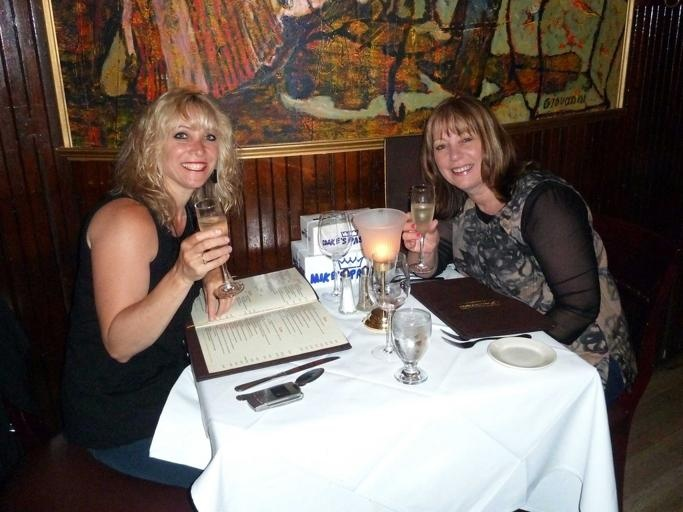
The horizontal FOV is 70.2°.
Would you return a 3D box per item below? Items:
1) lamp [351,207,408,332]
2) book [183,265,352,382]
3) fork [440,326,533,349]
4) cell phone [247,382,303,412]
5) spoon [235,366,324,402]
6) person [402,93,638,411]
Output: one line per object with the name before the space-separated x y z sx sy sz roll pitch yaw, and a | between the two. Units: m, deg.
lamp | 0.145 0.043 1.735 0.176 0.341 0.175 2 -9 -14
book | -0.277 0.230 1.629 0.330 0.032 0.382 -10 35 -16
fork | 0.480 0.266 1.575 0.255 0.041 0.046 -1 41 5
cell phone | -0.188 0.395 1.378 0.115 0.025 0.069 -8 23 -25
spoon | -0.179 0.369 1.438 0.277 0.032 0.089 -10 21 -34
person | 0.689 -0.029 2.229 0.938 1.369 0.984 2 32 31
